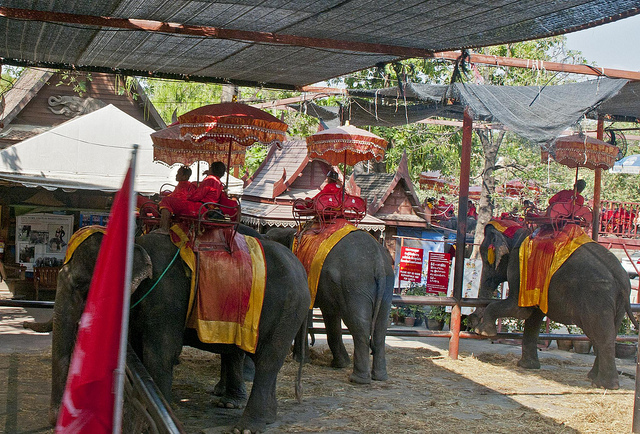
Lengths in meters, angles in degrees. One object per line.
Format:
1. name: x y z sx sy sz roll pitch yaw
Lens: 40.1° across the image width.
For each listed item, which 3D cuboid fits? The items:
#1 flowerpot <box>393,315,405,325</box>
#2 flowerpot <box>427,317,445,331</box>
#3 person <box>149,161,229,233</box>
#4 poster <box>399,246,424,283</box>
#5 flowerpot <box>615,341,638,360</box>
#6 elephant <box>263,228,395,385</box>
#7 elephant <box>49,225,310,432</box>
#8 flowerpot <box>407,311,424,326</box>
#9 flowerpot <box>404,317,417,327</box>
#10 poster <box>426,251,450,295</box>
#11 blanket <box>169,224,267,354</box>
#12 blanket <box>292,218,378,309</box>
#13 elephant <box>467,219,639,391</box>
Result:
1. flowerpot: 1.727 2.184 19.090 0.194 0.148 0.212 1 -6 1
2. flowerpot: 2.394 2.175 18.307 0.281 0.199 0.272 2 -8 -4
3. person: -1.665 -0.250 11.580 0.796 1.099 0.707 1 -20 13
4. poster: 1.742 0.860 16.784 0.418 0.639 0.363 4 6 5
5. flowerpot: 5.775 2.468 16.613 0.435 0.309 0.433 2 -1 -8
6. elephant: -0.069 1.260 14.715 1.383 2.210 2.956 2 -1 -42
7. elephant: -2.095 1.432 12.093 4.178 2.983 1.749 4 -10 -16
8. flowerpot: 2.127 2.125 18.881 0.298 0.230 0.304 3 -1 44
9. flowerpot: 1.918 2.193 18.812 0.182 0.137 0.185 1 -2 28
10. poster: 2.155 0.982 16.036 0.375 0.758 0.270 5 6 5
11. blanket: -1.260 0.830 11.450 1.077 1.748 1.539 0 8 -14
12. blanket: 0.246 0.497 13.876 0.791 1.035 1.759 -1 10 -23
13. elephant: 3.941 1.306 14.698 2.870 2.554 1.346 10 8 41
